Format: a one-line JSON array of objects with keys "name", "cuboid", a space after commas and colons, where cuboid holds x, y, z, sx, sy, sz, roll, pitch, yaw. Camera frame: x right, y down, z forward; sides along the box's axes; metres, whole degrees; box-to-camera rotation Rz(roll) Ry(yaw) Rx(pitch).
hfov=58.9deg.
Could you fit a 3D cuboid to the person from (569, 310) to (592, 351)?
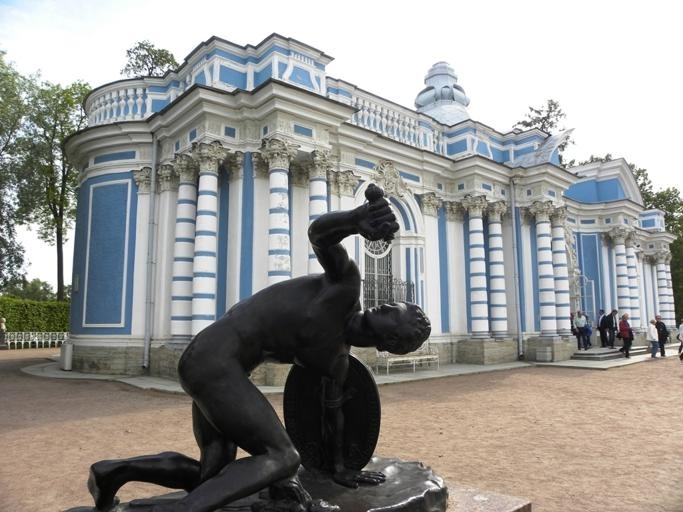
[{"name": "person", "cuboid": [9.101, 2.823, 22.949, 0.646, 1.495, 2.091, -6, -1, 21]}]
